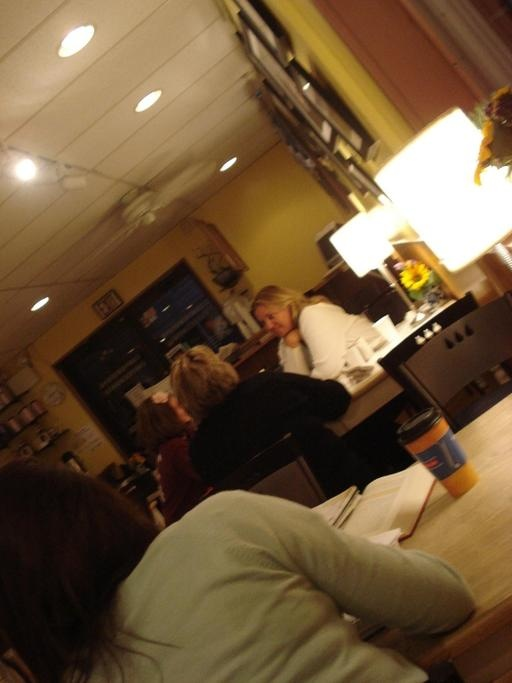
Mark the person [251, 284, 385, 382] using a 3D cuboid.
[{"bbox_3d":[0.405,-0.066,3.381,0.426,0.214,0.741,-17,23,-28],"label":"person"}]
